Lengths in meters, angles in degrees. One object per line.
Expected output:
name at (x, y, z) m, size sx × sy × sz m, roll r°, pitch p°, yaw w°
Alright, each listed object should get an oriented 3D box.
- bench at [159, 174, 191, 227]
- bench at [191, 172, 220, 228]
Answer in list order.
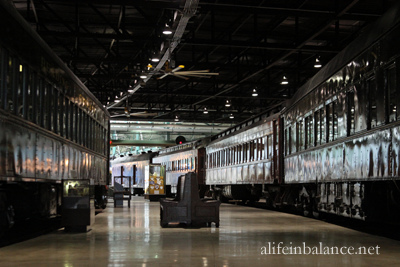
bench at (-0.765, 2.040, 12.291) m, size 0.890 × 1.604 × 1.412 m, roll 1°, pitch -13°, yaw -7°
bench at (0.175, 2.133, 12.617) m, size 0.778 × 1.400 × 1.406 m, roll 2°, pitch -7°, yaw -5°
